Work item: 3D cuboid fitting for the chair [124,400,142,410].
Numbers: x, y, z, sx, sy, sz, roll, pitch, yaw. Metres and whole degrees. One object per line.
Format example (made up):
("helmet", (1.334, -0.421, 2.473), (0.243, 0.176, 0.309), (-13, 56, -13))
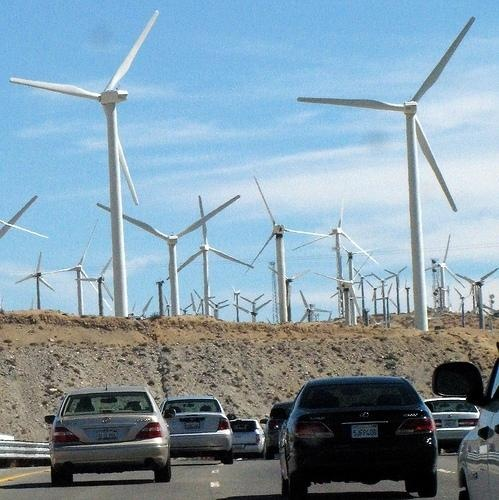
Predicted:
("chair", (-2.055, 2.721, 20.925), (0.213, 0.197, 0.202), (0, -5, 5))
